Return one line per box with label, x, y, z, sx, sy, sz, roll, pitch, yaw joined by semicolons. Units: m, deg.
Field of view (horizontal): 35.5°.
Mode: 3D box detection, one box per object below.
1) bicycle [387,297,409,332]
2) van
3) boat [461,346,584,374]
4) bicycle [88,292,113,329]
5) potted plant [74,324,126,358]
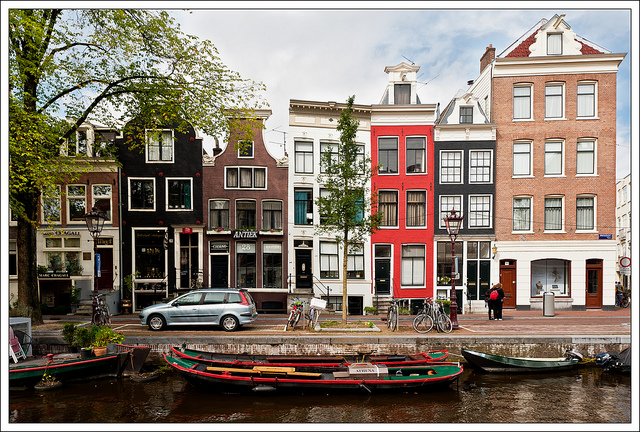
bicycle;4.139;5.330;56.099;0.829;1.035;1.858;18;-16;17
van;-6.588;5.171;56.674;6.775;2.097;2.761;-1;3;13
boat;10.616;7.858;53.495;5.958;1.292;1.321;1;-4;0
bicycle;-12.505;5.199;57.099;0.845;1.288;2.189;-16;-2;0
potted plant;-11.663;6.589;52.811;1.779;1.245;1.885;0;-11;13
